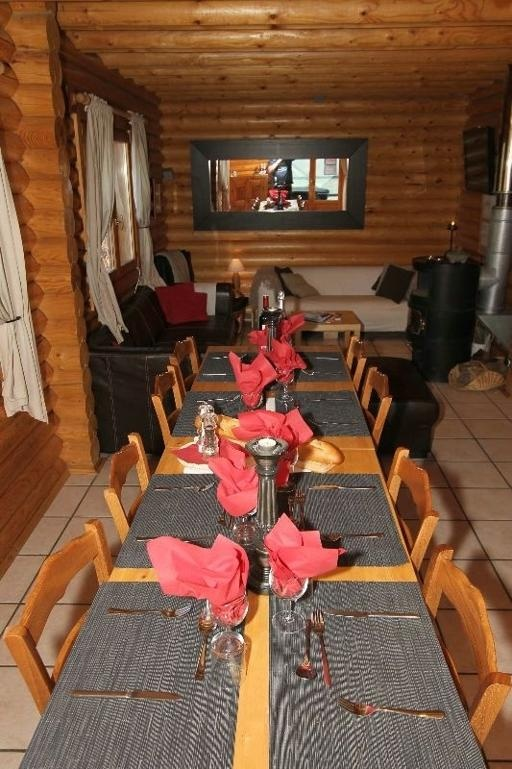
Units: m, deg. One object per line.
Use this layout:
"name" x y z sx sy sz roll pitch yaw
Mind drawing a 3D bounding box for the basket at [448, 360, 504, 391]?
"basket" 2.218 -0.086 5.165 0.432 0.163 0.328 -5 30 9

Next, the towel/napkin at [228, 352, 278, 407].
"towel/napkin" -0.007 -0.024 2.409 0.191 0.283 0.218 -4 23 13

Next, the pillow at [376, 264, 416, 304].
"pillow" 1.874 -1.378 6.992 0.139 0.550 0.571 22 2 -41

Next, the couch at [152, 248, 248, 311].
"couch" -0.731 -1.371 7.032 1.223 1.166 0.914 1 40 3

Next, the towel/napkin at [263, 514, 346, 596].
"towel/napkin" 0.119 0.395 1.092 0.169 0.108 0.157 16 -11 -18

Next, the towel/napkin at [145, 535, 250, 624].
"towel/napkin" -0.116 0.392 1.064 0.201 0.181 0.063 1 -12 14

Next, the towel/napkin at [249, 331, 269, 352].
"towel/napkin" 0.035 -0.264 3.128 0.125 0.129 0.033 -8 -9 27

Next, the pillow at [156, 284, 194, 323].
"pillow" -0.935 -0.915 5.914 0.446 0.422 0.132 -5 0 -28

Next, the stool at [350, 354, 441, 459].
"stool" 1.008 -0.003 3.857 0.629 0.554 1.126 2 35 8

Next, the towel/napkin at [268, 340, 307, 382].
"towel/napkin" 0.178 -0.126 2.747 0.094 0.222 0.220 19 -25 -19

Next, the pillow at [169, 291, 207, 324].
"pillow" -0.799 -0.911 5.969 0.414 0.401 0.123 0 -2 -33
